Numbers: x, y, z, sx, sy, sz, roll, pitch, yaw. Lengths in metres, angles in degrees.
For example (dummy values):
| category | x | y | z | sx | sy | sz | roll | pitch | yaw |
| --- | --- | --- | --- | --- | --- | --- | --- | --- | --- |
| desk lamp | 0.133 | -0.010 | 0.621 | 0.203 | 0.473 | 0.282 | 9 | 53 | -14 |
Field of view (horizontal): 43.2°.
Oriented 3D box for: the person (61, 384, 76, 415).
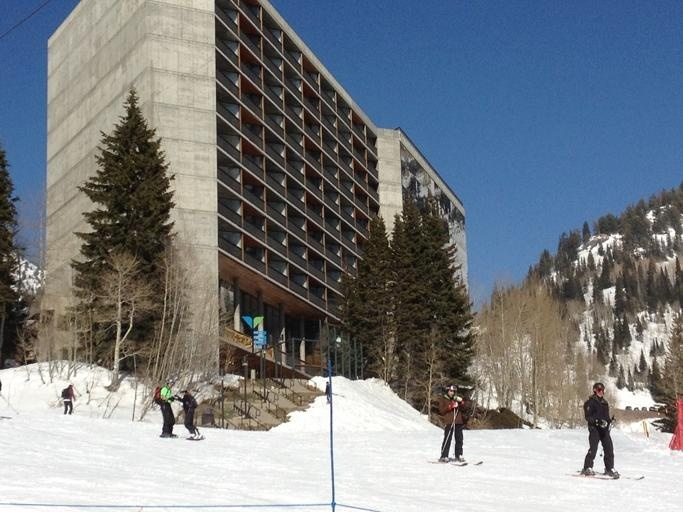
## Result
| category | x | y | z | sx | sy | sz | roll | pitch | yaw |
| --- | --- | --- | --- | --- | --- | --- | --- | --- | --- |
| person | -13.295 | 7.095 | 42.310 | 0.505 | 1.529 | 3.799 | 2 | -1 | -16 |

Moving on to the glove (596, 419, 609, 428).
| category | x | y | z | sx | sy | sz | roll | pitch | yaw |
| --- | --- | --- | --- | --- | --- | --- | --- | --- | --- |
| glove | 8.709 | 5.638 | 28.908 | 0.322 | 0.151 | 0.281 | 1 | -9 | 10 |
